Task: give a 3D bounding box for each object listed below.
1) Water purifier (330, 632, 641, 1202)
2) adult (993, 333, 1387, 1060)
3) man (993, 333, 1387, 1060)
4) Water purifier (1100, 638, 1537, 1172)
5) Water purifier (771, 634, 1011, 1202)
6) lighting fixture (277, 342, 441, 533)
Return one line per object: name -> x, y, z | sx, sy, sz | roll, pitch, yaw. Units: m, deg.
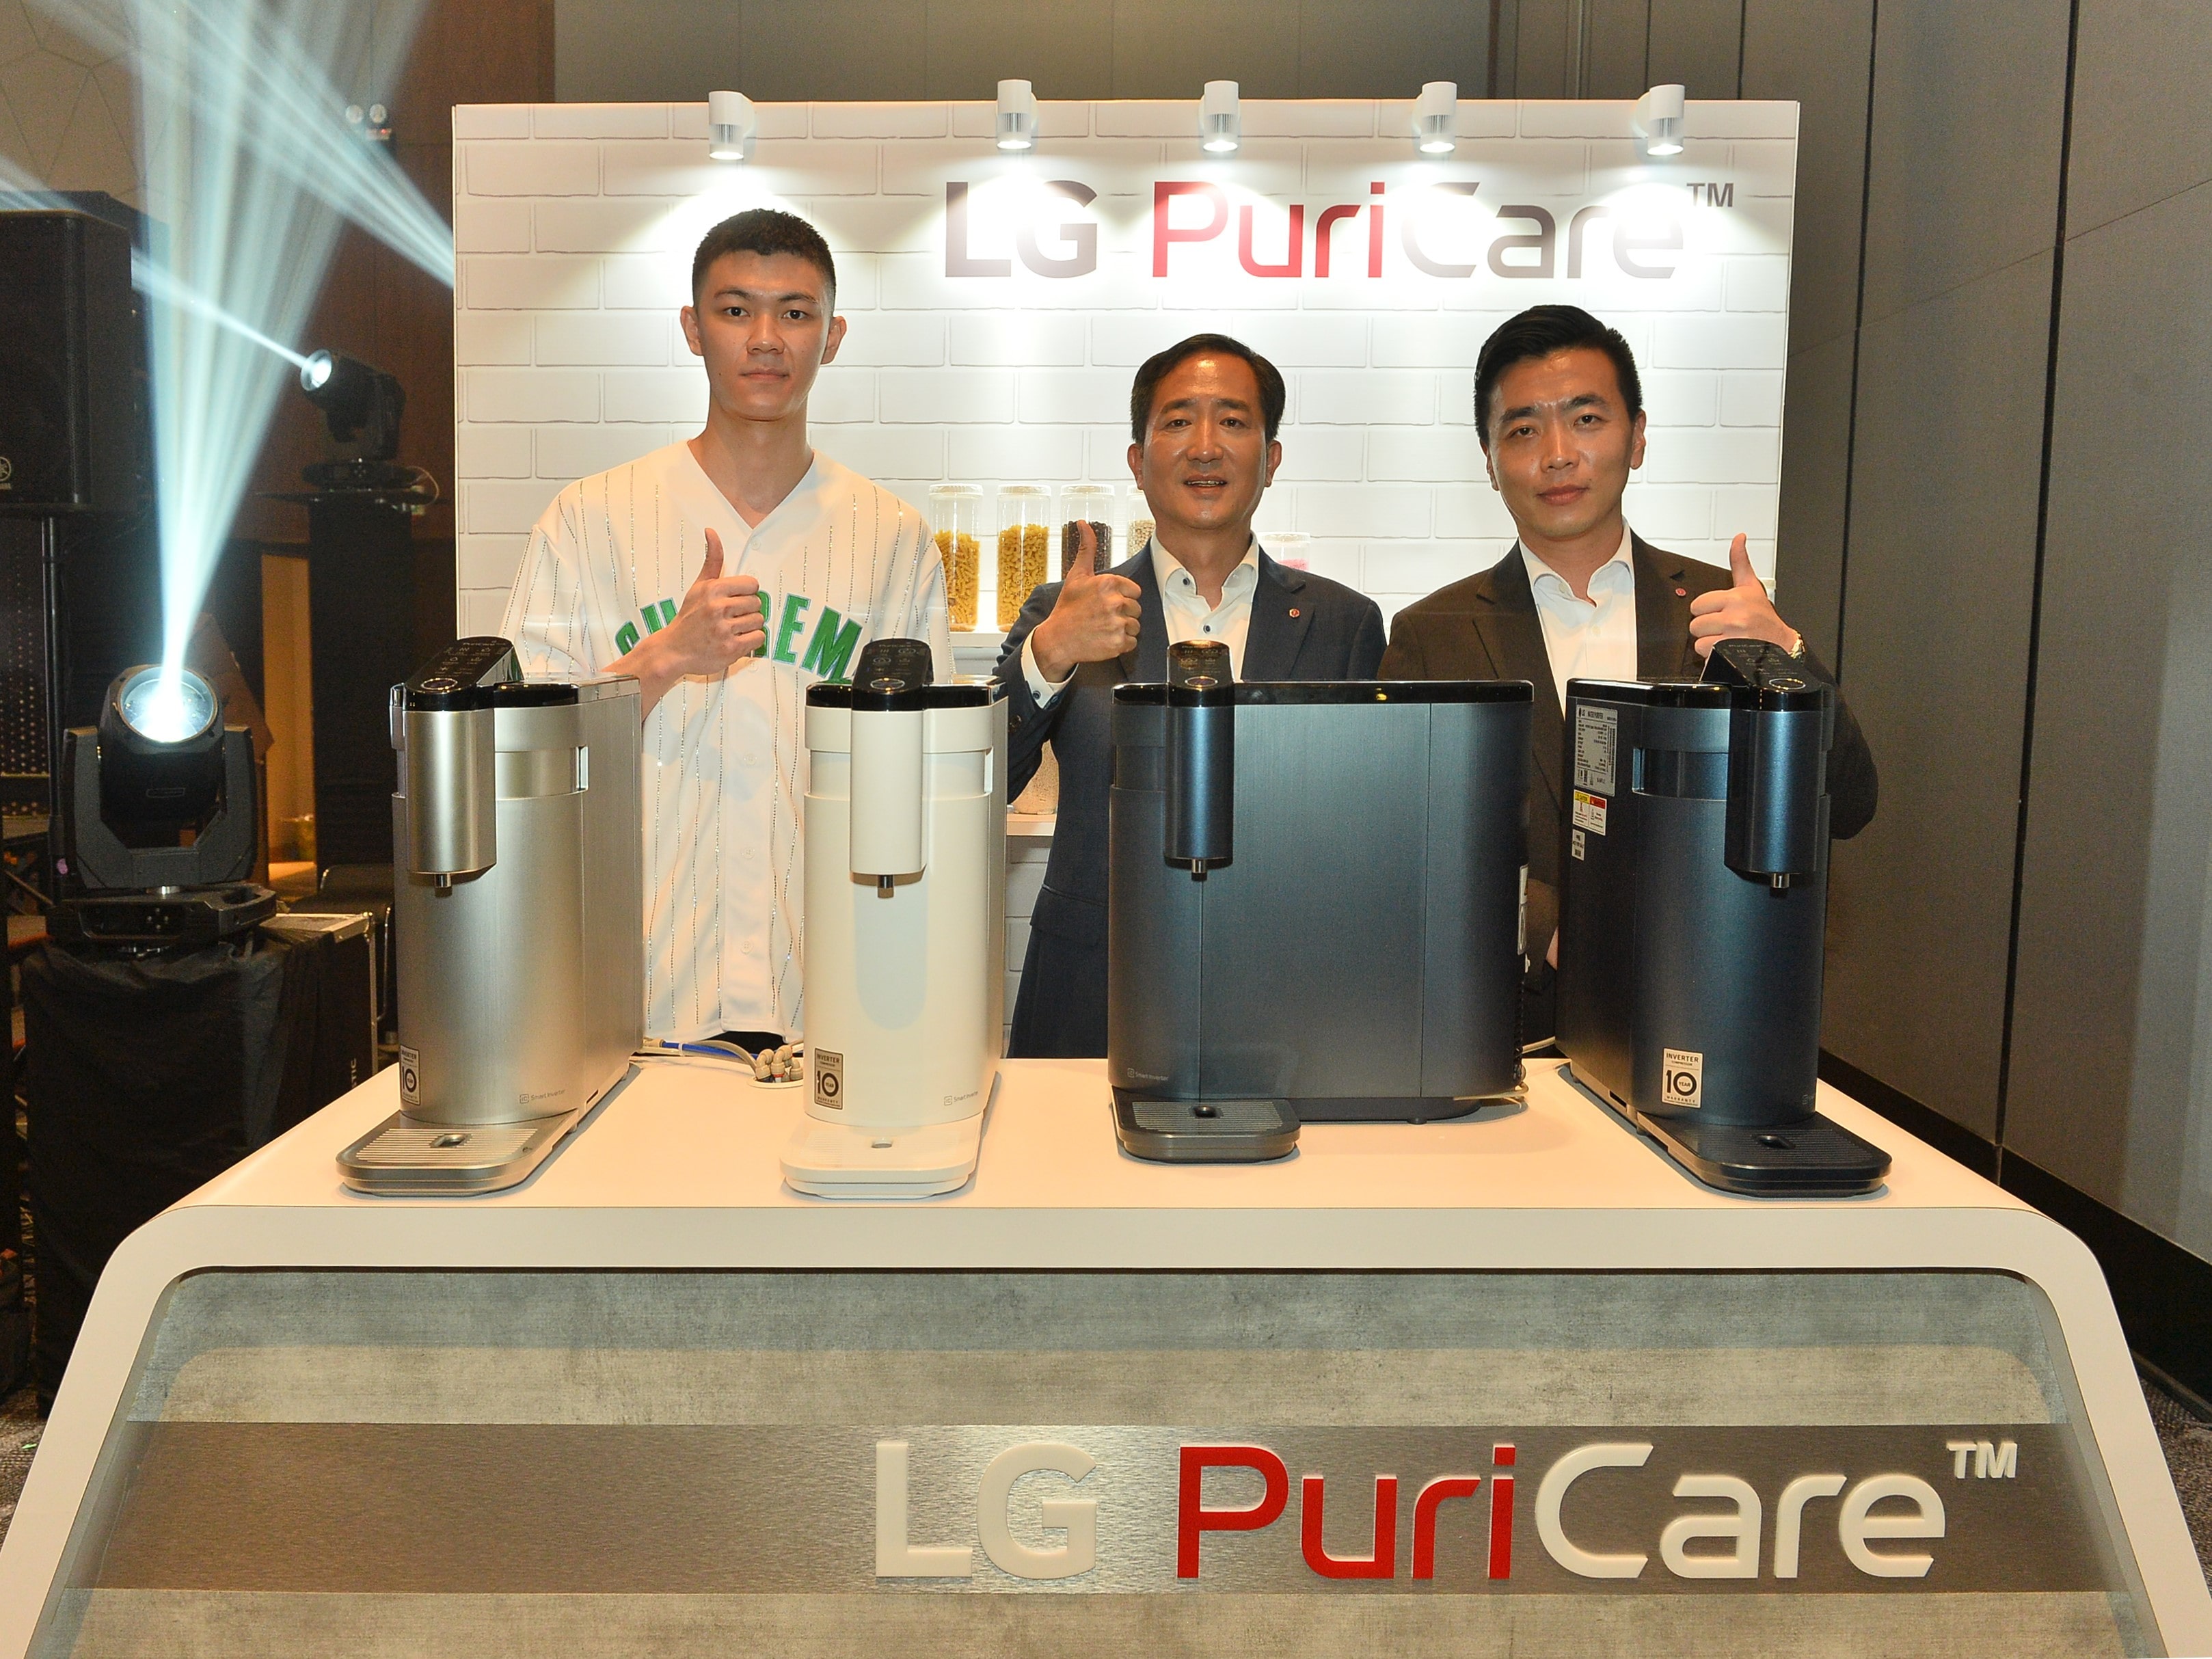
Water purifier -> -0.637, 0.076, 2.036 | 0.214, 0.540, 0.343 | 1, 2, 2
adult -> 0.136, 0.066, 3.165 | 0.711, 1.682, 0.583 | 0, 5, -1
man -> 0.125, 0.023, 3.208 | 0.681, 1.597, 0.584 | 0, 12, -2
Water purifier -> 0.166, 0.062, 2.244 | 0.546, 0.569, 0.432 | 1, 2, 1
Water purifier -> -0.214, 0.082, 1.932 | 0.211, 0.534, 0.145 | 1, 1, -4
lighting fixture -> -1.701, -0.884, 4.393 | 0.356, 0.365, 0.356 | 4, 6, 36
